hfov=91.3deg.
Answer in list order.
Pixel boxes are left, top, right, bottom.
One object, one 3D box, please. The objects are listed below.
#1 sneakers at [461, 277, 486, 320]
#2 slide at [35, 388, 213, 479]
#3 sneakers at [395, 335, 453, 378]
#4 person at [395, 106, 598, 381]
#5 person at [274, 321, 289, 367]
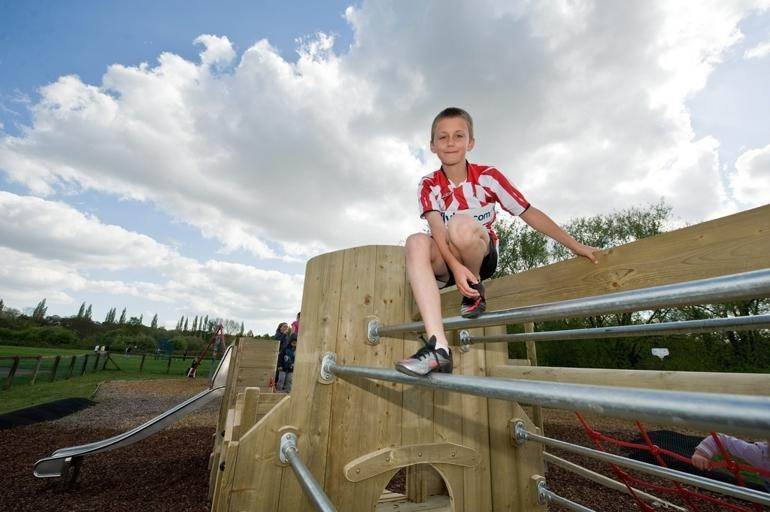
[{"bbox_3d":[0.649,0.310,2.703,0.202,0.277,0.191,0,-17,-6],"label":"sneakers"},{"bbox_3d":[-3.833,2.742,5.914,2.895,1.057,0.431,-7,-31,2],"label":"slide"},{"bbox_3d":[0.242,0.614,2.362,0.263,0.252,0.331,-11,-20,27],"label":"sneakers"},{"bbox_3d":[0.738,-0.186,3.066,1.485,2.081,1.198,4,-8,-24],"label":"person"},{"bbox_3d":[-2.579,2.141,9.427,0.337,1.084,1.040,2,-18,-13],"label":"person"}]
